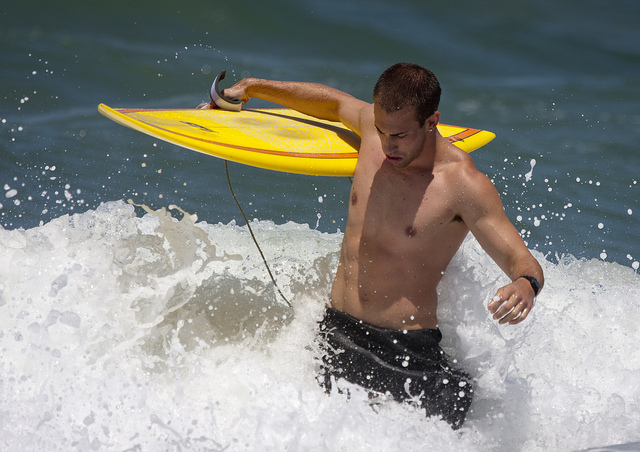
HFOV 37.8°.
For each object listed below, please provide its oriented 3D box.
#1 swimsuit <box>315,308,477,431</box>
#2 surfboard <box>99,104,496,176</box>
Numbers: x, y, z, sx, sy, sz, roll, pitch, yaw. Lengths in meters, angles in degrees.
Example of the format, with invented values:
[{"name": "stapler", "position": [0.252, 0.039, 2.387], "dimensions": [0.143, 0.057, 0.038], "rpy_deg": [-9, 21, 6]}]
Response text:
[{"name": "swimsuit", "position": [0.570, 1.121, 7.452], "dimensions": [1.194, 0.542, 0.755], "rpy_deg": [22, 76, -3]}, {"name": "surfboard", "position": [-0.280, -0.714, 7.947], "dimensions": [3.012, 0.298, 0.897], "rpy_deg": [0, 30, -37]}]
